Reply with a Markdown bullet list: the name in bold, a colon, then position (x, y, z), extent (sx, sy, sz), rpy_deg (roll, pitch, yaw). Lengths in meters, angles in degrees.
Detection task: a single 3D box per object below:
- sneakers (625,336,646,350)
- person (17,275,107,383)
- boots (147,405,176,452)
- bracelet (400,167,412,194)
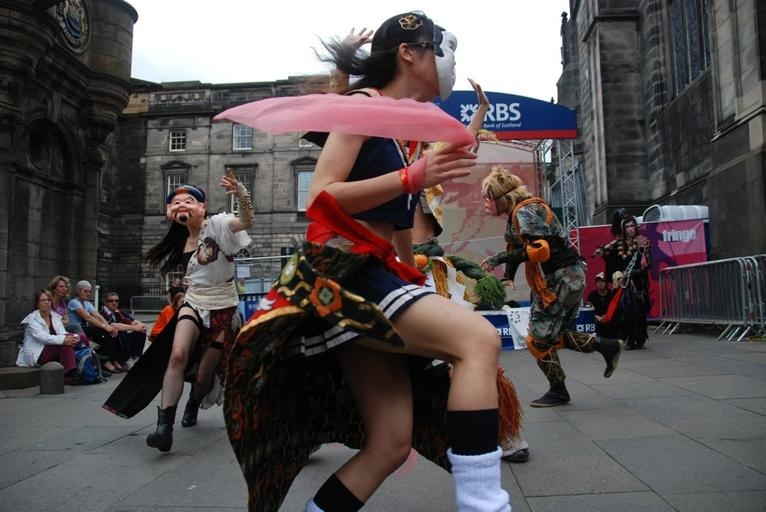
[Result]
- **sneakers**: position (4.461, 1.544, 10.674), extent (0.360, 0.201, 0.297), rpy_deg (-2, 5, 5)
- **person**: position (-5.003, 1.290, 9.332), extent (1.181, 1.438, 0.533), rpy_deg (-2, 5, 4)
- **boots**: position (-2.122, 1.645, 5.855), extent (0.180, 0.357, 0.365), rpy_deg (-7, -8, 9)
- **bracelet**: position (0.142, -0.466, 3.783), extent (0.048, 0.121, 0.111), rpy_deg (-10, -40, -3)
